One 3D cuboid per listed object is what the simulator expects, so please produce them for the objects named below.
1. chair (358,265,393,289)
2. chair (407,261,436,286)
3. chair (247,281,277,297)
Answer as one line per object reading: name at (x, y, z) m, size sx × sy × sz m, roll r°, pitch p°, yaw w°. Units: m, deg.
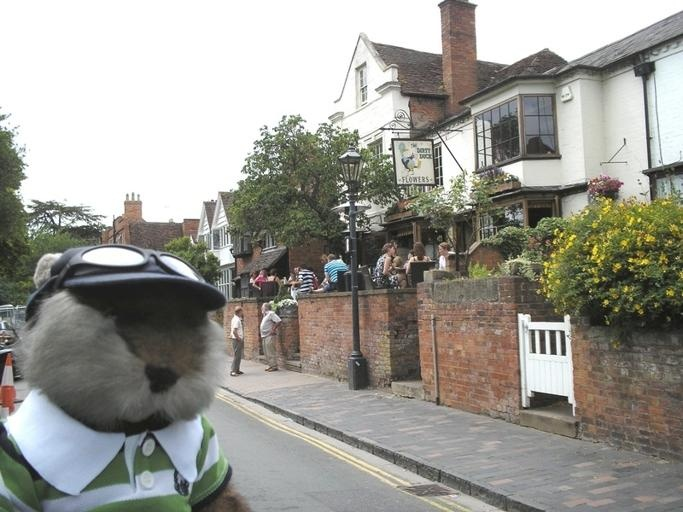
chair at (0.586, 0.471, 15.611) m, size 0.542 × 0.660 × 0.460 m, roll -3°, pitch -2°, yaw -19°
chair at (1.630, 0.362, 14.021) m, size 0.475 × 0.666 × 0.465 m, roll 1°, pitch -4°, yaw -10°
chair at (-2.723, 1.158, 24.862) m, size 0.767 × 0.906 × 0.709 m, roll -5°, pitch -5°, yaw 31°
